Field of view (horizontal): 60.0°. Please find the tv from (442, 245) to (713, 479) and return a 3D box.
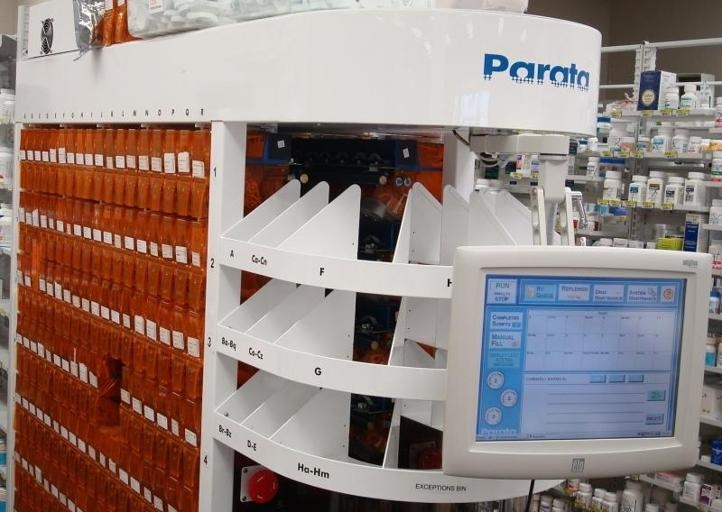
[{"bbox_3d":[0.598,0.294,1.762,0.591,0.568,0.221,2,0,-10],"label":"tv"}]
